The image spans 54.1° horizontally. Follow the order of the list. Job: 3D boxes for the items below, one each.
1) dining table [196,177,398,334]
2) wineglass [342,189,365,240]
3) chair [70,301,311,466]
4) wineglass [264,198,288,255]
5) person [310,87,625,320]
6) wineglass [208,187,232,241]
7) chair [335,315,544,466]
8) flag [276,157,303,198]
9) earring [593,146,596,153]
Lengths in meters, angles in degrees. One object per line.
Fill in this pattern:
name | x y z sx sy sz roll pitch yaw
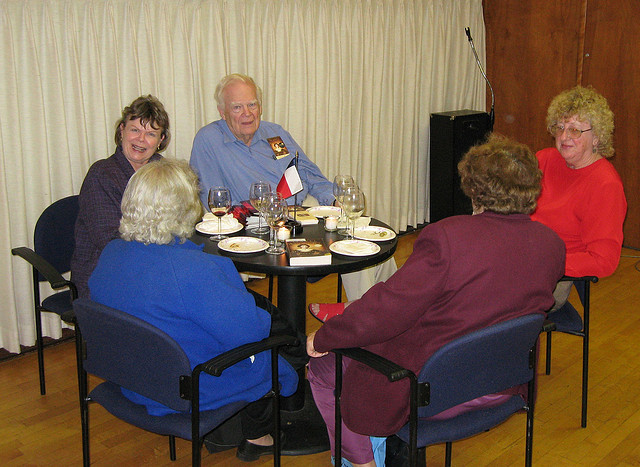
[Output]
dining table | -0.155 0.002 3.434 0.906 0.756 0.964 0 21 -2
wineglass | 0.176 -0.106 3.415 0.128 0.284 0.222 -5 8 -8
chair | -0.586 0.703 2.893 0.534 0.745 0.557 15 28 29
wineglass | -0.229 -0.043 3.265 0.114 0.290 0.138 0 9 26
person | 0.870 -0.226 3.978 1.515 1.573 0.783 -14 24 -27
wineglass | -0.560 -0.109 3.442 0.131 0.288 0.209 -9 9 -28
chair | 0.484 0.667 2.713 0.562 0.737 0.461 -13 26 -27
flag | -0.168 -0.329 3.509 0.177 0.339 0.027 -17 52 -23
earring | 1.619 -0.495 3.709 0.014 0.038 0.018 0 9 24
